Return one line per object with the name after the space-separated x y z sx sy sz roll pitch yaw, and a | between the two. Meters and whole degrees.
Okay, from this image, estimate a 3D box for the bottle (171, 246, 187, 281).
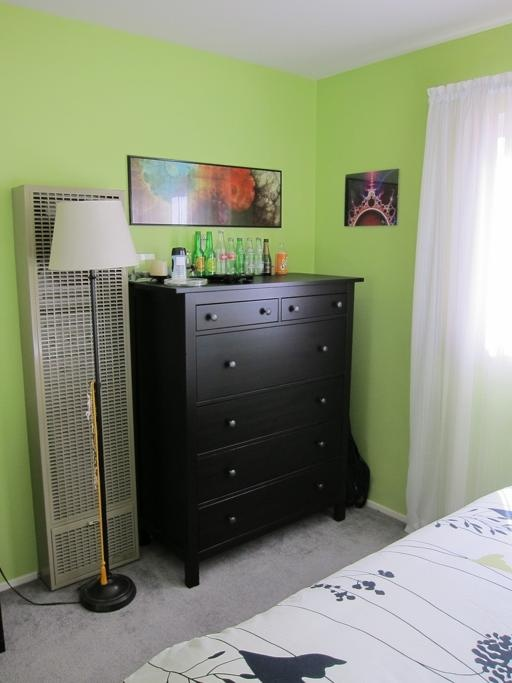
-0.343 -0.343 2.343 0.061 0.153 0.090 -3 0 -14 | bottle

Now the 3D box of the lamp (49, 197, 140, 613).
-0.612 0.305 2.084 0.319 1.554 0.507 -3 0 -23 | lamp

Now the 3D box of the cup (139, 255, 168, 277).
-0.495 -0.365 2.552 0.110 0.135 0.113 3 17 -1 | cup

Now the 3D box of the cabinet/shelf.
-0.078 0.412 2.486 1.015 1.487 0.519 -7 14 -33 | cabinet/shelf

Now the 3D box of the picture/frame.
-0.228 -0.788 2.833 1.005 0.383 0.061 -5 1 -40 | picture/frame
